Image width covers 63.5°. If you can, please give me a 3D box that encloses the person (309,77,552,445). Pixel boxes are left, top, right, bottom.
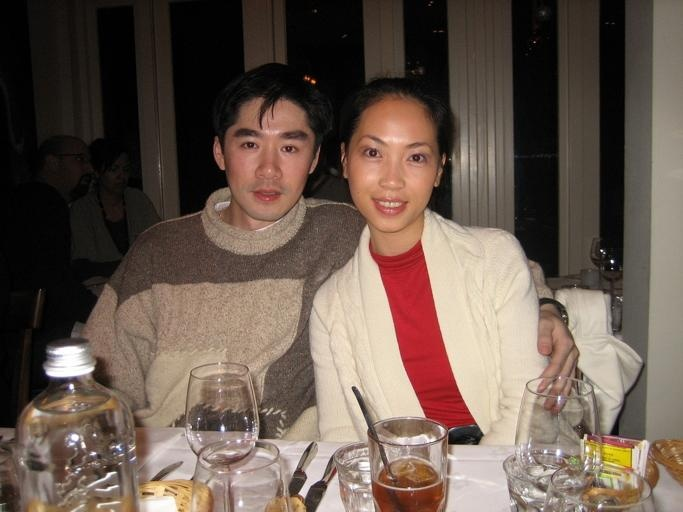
[{"bbox_3d":[0.270,-0.004,1.812,0.800,1.176,0.493,0,7,19],"label":"person"}]

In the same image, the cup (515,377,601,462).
[{"bbox_3d":[0.464,0.344,1.234,0.161,0.175,0.170,0,-5,0],"label":"cup"}]
